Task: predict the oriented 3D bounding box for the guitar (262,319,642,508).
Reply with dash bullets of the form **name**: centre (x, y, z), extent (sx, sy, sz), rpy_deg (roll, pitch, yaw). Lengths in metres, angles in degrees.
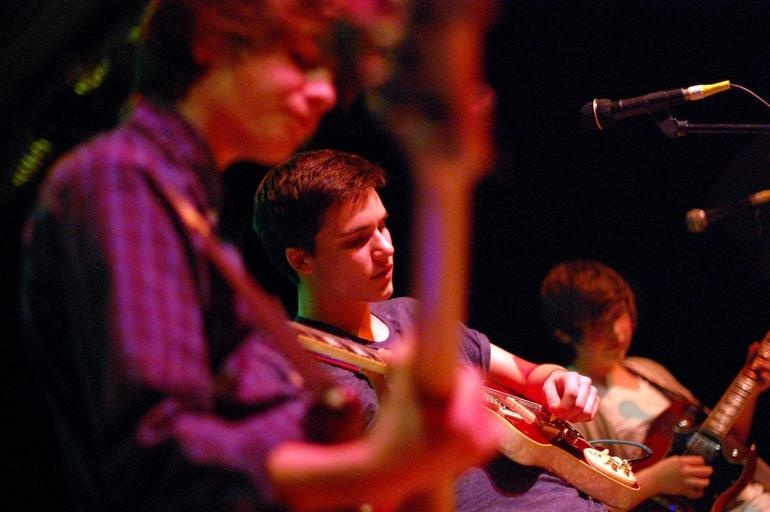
- **guitar**: centre (0.198, 0.440, 2.060), extent (1.037, 0.128, 0.329), rpy_deg (30, 9, -15)
